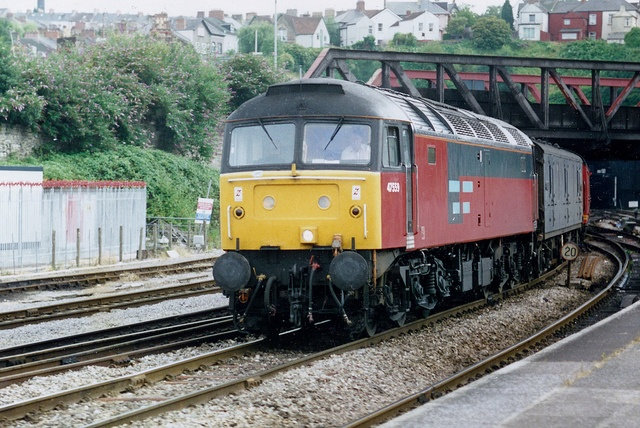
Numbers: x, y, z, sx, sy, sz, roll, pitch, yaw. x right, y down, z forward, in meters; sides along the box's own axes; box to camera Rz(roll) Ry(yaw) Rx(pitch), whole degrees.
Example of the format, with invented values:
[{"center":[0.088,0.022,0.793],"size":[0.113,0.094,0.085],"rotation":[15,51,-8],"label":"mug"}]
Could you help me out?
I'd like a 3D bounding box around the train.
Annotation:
[{"center":[3.523,-0.406,21.975],"size":[3.715,5.526,16.974],"rotation":[-1,1,28],"label":"train"}]
